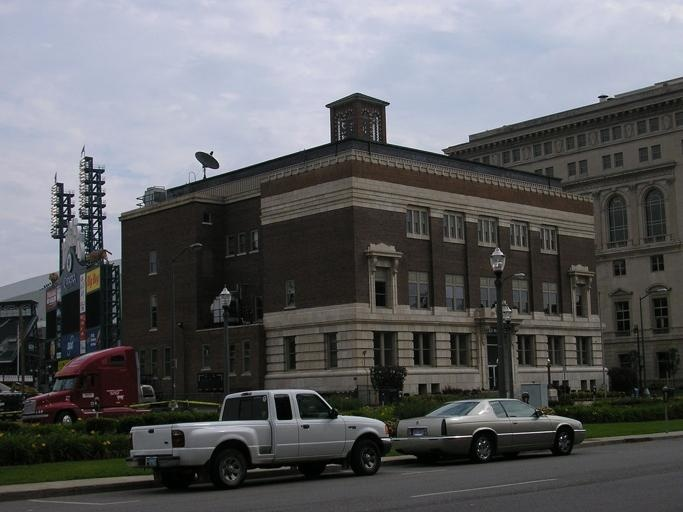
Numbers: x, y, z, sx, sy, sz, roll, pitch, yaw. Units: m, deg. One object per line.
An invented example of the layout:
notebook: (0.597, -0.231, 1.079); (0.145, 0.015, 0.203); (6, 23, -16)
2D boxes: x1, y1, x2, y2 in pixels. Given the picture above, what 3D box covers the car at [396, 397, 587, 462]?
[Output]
car: (5.517, 6.499, 38.828); (8.156, 2.207, 2.640); (3, -7, -31)
